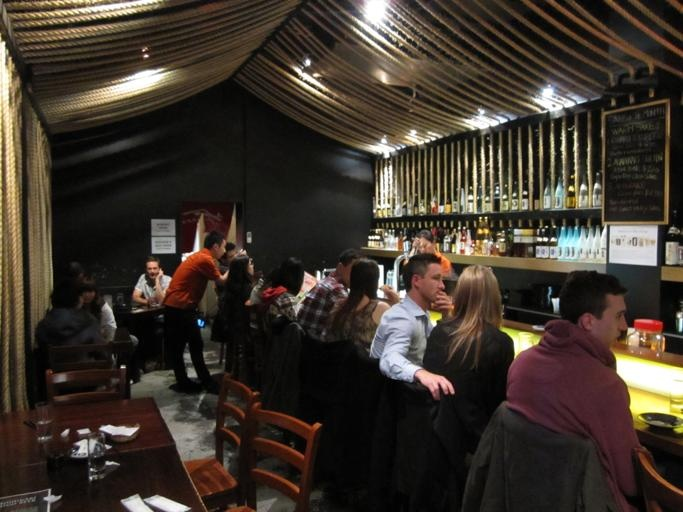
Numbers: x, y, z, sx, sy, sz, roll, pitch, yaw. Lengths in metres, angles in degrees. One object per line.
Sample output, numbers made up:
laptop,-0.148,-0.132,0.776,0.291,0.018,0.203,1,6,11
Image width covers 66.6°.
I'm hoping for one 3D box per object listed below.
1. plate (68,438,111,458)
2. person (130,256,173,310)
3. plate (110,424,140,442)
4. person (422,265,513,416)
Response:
plate,-1.326,1.008,2.728,0.131,0.034,0.136,-3,9,-21
person,-2.641,0.468,7.217,0.460,0.877,0.519,0,4,-4
plate,-1.249,1.014,3.001,0.139,0.046,0.182,1,2,-14
person,0.794,0.512,3.238,0.512,0.902,0.271,1,1,-5
